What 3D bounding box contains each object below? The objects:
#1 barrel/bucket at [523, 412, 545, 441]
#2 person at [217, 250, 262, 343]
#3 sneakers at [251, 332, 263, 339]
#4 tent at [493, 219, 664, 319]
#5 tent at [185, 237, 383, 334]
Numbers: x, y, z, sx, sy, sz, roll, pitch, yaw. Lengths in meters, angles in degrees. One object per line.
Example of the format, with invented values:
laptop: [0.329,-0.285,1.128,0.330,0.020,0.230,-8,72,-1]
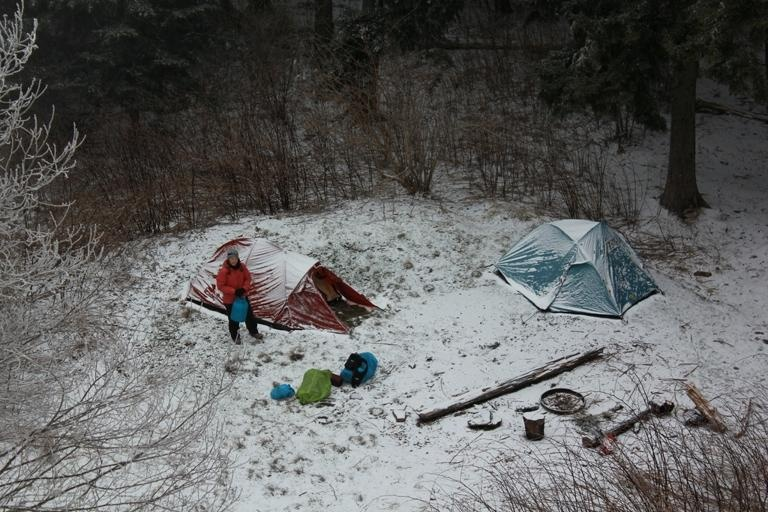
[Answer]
barrel/bucket: [3.077,3.405,15.612,0.446,0.406,0.670,1,30,11]
person: [-3.449,0.921,17.714,0.749,2.110,0.788,-12,29,-14]
sneakers: [-3.004,1.894,17.972,0.160,0.162,0.161,17,5,30]
tent: [4.962,-0.312,19.266,3.449,1.706,3.465,-15,23,9]
tent: [-2.613,0.661,18.706,3.457,1.343,2.564,17,32,19]
